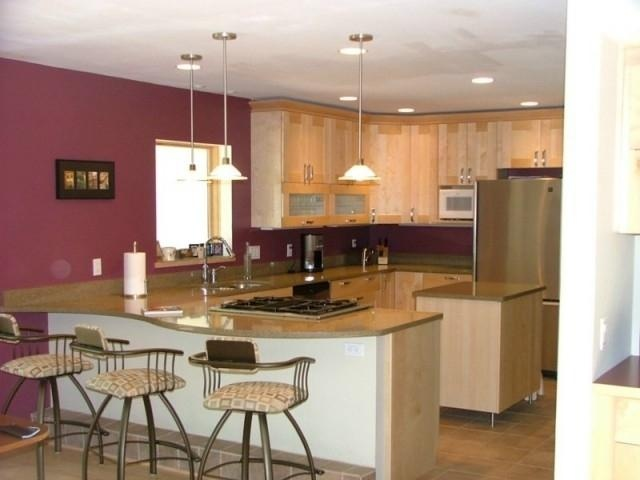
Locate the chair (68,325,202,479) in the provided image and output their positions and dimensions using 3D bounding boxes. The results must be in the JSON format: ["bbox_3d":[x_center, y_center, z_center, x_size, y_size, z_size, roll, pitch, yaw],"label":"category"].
[{"bbox_3d":[-1.342,1.133,4.088,0.768,1.184,1.051,-4,4,-22],"label":"chair"}]

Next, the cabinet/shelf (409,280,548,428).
[{"bbox_3d":[1.529,0.858,5.646,1.148,1.357,1.550,0,2,31],"label":"cabinet/shelf"}]

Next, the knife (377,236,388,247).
[{"bbox_3d":[0.906,0.038,8.160,0.128,0.147,0.036,5,-5,-6],"label":"knife"}]

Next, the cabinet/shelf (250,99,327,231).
[{"bbox_3d":[-0.140,-0.867,6.554,0.984,1.467,0.523,-10,24,-31],"label":"cabinet/shelf"}]

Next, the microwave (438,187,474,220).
[{"bbox_3d":[1.731,-0.451,7.153,0.458,0.366,0.242,-1,-2,32],"label":"microwave"}]

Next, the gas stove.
[{"bbox_3d":[-0.237,0.516,4.281,0.933,0.081,0.828,0,4,40],"label":"gas stove"}]

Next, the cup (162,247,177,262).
[{"bbox_3d":[-1.504,0.149,5.662,0.128,0.119,0.128,0,2,0],"label":"cup"}]

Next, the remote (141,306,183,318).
[{"bbox_3d":[-1.154,0.538,4.164,0.286,0.029,0.320,-3,3,-14],"label":"remote"}]

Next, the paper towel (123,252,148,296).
[{"bbox_3d":[-1.639,0.313,5.028,0.199,0.385,0.149,-4,5,-25],"label":"paper towel"}]

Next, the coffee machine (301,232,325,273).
[{"bbox_3d":[-0.101,0.168,6.977,0.275,0.465,0.181,-3,4,-9],"label":"coffee machine"}]

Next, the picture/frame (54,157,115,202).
[{"bbox_3d":[-2.067,-0.522,4.908,0.036,0.263,0.445,5,5,42],"label":"picture/frame"}]
